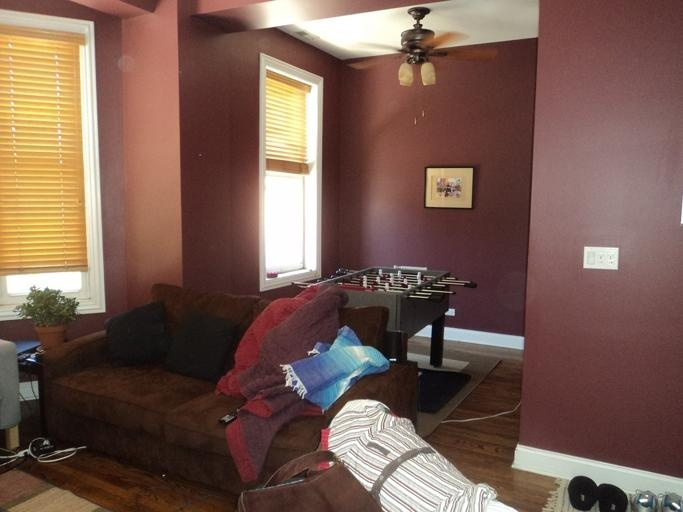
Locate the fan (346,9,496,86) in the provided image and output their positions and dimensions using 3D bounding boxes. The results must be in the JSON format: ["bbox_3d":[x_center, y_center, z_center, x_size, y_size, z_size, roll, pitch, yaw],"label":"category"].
[{"bbox_3d":[0.862,-2.110,5.415,0.955,0.470,0.959,-1,-1,-16],"label":"fan"}]

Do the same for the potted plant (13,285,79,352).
[{"bbox_3d":[-2.271,0.501,4.199,0.410,0.435,0.284,-3,1,-34],"label":"potted plant"}]

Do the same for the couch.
[{"bbox_3d":[-0.849,0.914,3.813,2.375,1.172,1.101,6,8,26],"label":"couch"}]

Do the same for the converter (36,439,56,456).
[{"bbox_3d":[-2.093,1.335,3.807,0.092,0.043,0.101,-16,24,-37],"label":"converter"}]
